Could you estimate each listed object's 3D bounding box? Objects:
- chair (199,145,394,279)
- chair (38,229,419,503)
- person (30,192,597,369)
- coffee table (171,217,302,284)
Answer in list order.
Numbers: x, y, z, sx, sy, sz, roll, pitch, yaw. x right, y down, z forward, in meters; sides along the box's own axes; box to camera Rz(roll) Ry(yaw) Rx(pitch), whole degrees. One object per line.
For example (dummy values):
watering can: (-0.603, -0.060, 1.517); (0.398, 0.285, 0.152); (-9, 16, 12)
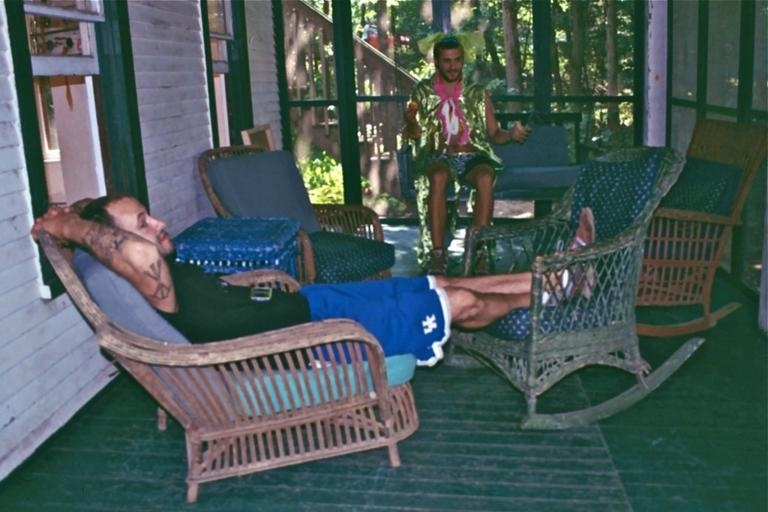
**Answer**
chair: (-0.584, -0.320, 5.217); (1.307, 1.047, 0.980); (8, 15, 32)
chair: (-0.784, 0.532, 3.838); (1.684, 1.143, 1.347); (-8, 23, -18)
person: (-0.433, 0.150, 4.028); (2.946, 1.025, 0.751); (-4, 24, -10)
coffee table: (-0.893, -0.080, 4.388); (0.500, 0.293, 0.485); (3, 12, 13)
